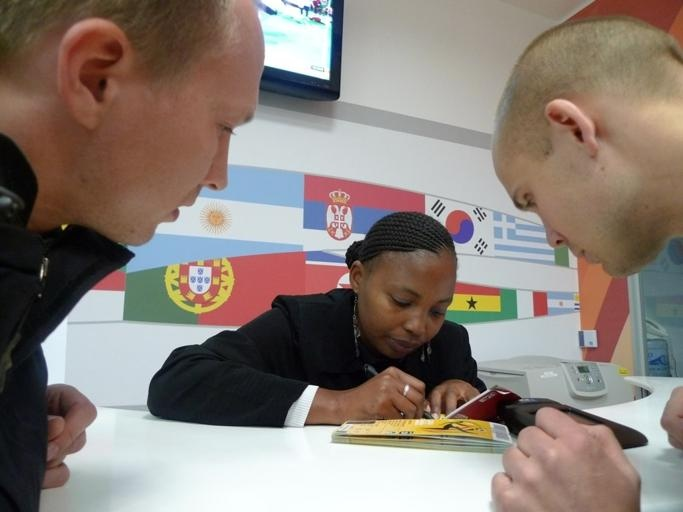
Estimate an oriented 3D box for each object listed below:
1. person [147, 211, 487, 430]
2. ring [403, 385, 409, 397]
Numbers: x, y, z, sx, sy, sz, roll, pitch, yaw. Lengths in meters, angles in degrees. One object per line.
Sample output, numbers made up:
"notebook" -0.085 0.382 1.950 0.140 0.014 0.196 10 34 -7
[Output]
"person" -0.142 0.189 1.643 0.578 1.003 0.474 -2 37 -49
"ring" 0.158 0.327 1.246 0.006 0.020 0.014 9 0 -9
